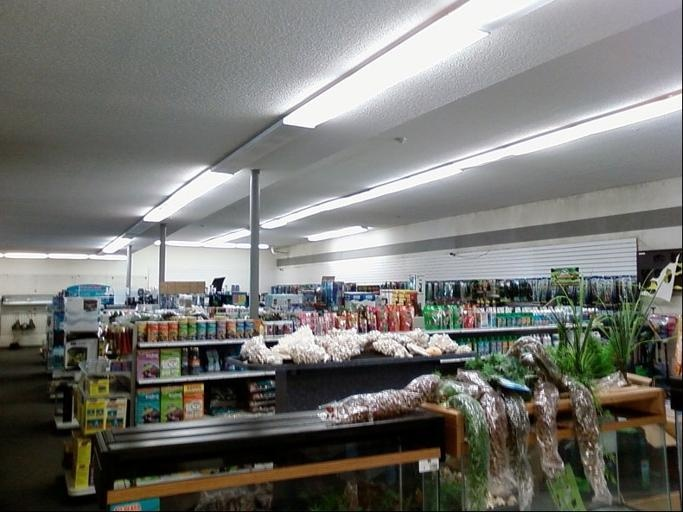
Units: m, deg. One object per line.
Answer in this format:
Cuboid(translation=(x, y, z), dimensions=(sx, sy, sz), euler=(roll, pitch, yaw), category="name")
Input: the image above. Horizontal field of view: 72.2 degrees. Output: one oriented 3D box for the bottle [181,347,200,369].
Cuboid(translation=(-1.903, 1.295, 5.850), dimensions=(0.240, 0.349, 0.103), euler=(7, -16, -41), category="bottle")
